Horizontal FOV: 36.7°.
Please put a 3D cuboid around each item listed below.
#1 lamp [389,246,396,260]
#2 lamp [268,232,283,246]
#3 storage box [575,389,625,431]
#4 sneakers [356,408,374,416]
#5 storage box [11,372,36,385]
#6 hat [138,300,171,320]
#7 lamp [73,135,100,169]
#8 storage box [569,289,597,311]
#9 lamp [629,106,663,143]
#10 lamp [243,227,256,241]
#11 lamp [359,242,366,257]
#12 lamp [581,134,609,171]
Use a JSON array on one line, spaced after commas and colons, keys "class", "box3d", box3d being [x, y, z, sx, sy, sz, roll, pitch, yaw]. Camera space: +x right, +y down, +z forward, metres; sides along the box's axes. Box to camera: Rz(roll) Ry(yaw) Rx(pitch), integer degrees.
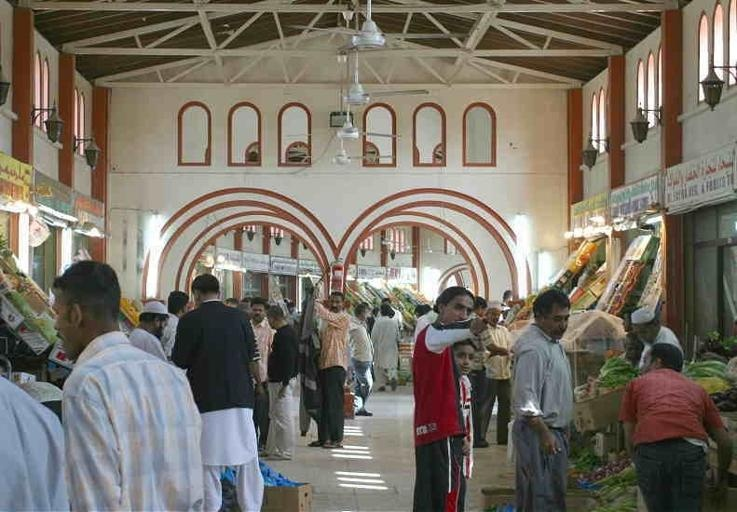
[{"class": "lamp", "box3d": [0.904, -0.113, 42.567, 0.189, 0.440, 0.763, -2, -10, 8]}, {"class": "lamp", "box3d": [-2.997, -0.598, 36.139, 0.362, 0.386, 0.377, 6, -13, -25]}, {"class": "storage box", "box3d": [2.960, 2.004, 14.303, 0.555, 0.229, 0.493, -12, -1, -1]}, {"class": "sneakers", "box3d": [-0.060, 2.631, 18.722, 0.283, 0.218, 0.108, -1, 3, -6]}, {"class": "storage box", "box3d": [-3.791, 1.344, 12.201, 0.209, 0.069, 0.236, 7, 6, -42]}, {"class": "hat", "box3d": [-2.551, 0.634, 13.374, 0.238, 0.177, 0.338, 1, 3, 3]}, {"class": "lamp", "box3d": [-5.898, -2.174, 23.231, 0.516, 0.849, 0.299, -5, -19, -11]}, {"class": "storage box", "box3d": [4.510, 0.932, 23.343, 0.465, 0.128, 0.458, -47, 15, -18]}, {"class": "lamp", "box3d": [5.044, -2.423, 20.247, 0.514, 0.763, 0.346, 4, -13, 0]}, {"class": "lamp", "box3d": [-3.679, -0.741, 34.434, 0.193, 0.471, 0.912, -2, -10, 9]}, {"class": "lamp", "box3d": [-0.204, -0.268, 40.600, 0.215, 0.527, 0.662, -1, -10, 4]}, {"class": "lamp", "box3d": [4.684, -2.194, 22.931, 0.513, 0.791, 0.313, 2, -7, 7]}]
